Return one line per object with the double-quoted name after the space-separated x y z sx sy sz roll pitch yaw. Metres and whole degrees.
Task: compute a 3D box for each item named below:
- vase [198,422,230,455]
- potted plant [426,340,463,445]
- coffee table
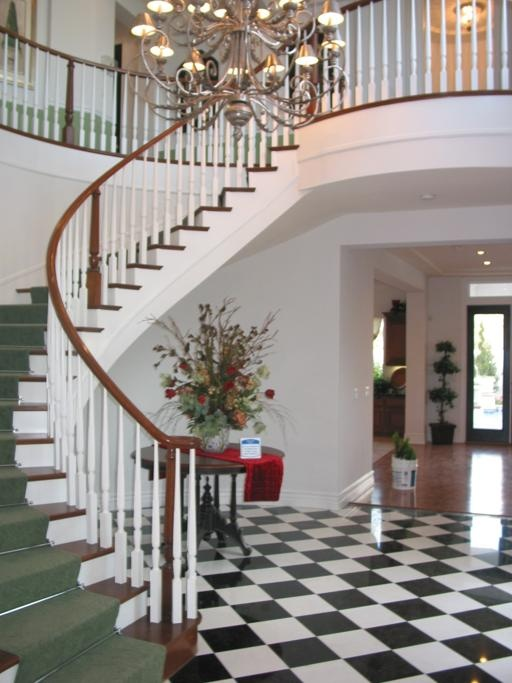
-0.294 0.692 4.467 0.216 0.228 0.216 -1 -3 28 "vase"
3.318 0.907 10.970 0.521 1.811 0.516 0 -2 15 "potted plant"
-0.232 1.297 4.553 1.064 0.730 1.051 1 -5 1 "coffee table"
